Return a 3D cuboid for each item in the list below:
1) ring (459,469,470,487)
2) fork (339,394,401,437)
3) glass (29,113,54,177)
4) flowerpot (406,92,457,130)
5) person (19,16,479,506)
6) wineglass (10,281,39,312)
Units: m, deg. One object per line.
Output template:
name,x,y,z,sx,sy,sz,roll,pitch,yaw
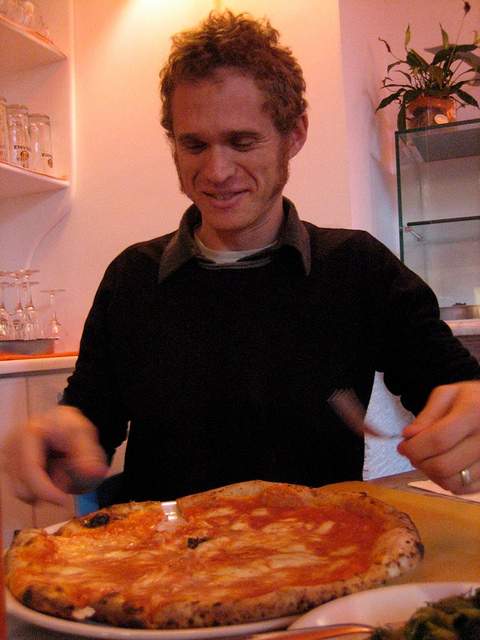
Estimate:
ring,0.202,0.142,0.502,0.010,0.013,0.004,-1,7,-13
fork,0.177,0.134,0.768,0.026,0.018,0.080,-36,6,0
glass,-0.738,-0.638,2.069,0.074,0.215,0.157,-1,-7,-16
flowerpot,0.741,-0.781,2.164,0.148,0.132,0.143,-1,-1,2
person,0.002,-0.110,0.935,0.634,0.735,0.414,-4,-7,4
wineglass,-0.817,-0.091,2.126,0.119,0.117,0.114,3,7,33
